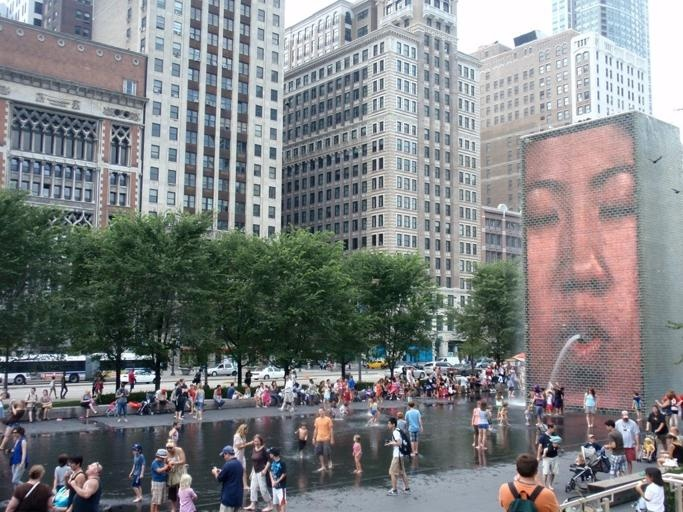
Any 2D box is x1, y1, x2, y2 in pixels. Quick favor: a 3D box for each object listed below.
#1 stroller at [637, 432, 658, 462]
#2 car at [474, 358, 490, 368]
[{"bbox_3d":[17.314,10.877,52.090,0.971,1.544,2.012,-4,-11,16],"label":"stroller"},{"bbox_3d":[17.103,12.912,111.493,1.992,0.956,1.135,7,-13,-34],"label":"car"}]
